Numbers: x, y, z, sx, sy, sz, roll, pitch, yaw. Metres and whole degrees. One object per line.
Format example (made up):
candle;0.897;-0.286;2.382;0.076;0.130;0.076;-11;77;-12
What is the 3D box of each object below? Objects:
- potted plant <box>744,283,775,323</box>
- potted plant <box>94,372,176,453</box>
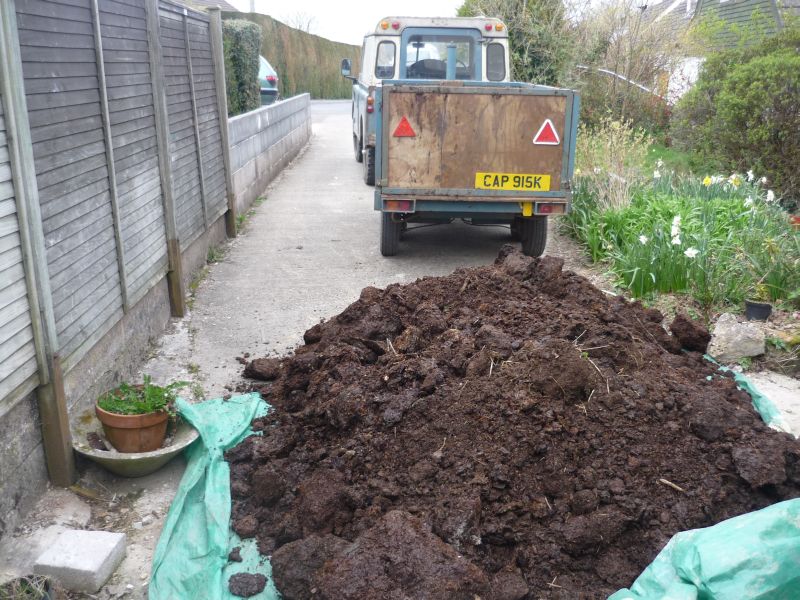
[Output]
potted plant;3.535;0.035;5.787;0.210;0.332;0.220;6;10;41
potted plant;-1.796;0.754;4.082;0.409;0.353;0.442;4;9;-5
